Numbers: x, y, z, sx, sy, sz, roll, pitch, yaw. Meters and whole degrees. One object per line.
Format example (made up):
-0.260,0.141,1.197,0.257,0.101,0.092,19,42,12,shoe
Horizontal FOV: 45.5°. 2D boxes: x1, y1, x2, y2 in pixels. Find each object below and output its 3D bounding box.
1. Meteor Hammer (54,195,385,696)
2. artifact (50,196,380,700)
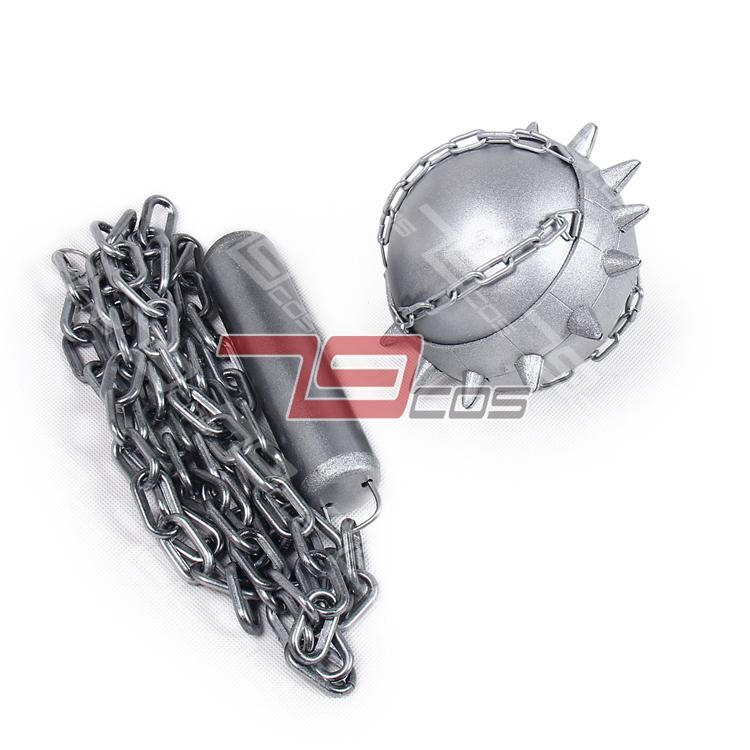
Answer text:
-0.484,0.116,2.646,0.612,0.325,1.649,-45,-108,27,Meteor Hammer
-0.549,0.105,2.559,0.612,0.323,1.658,-44,-107,24,artifact
